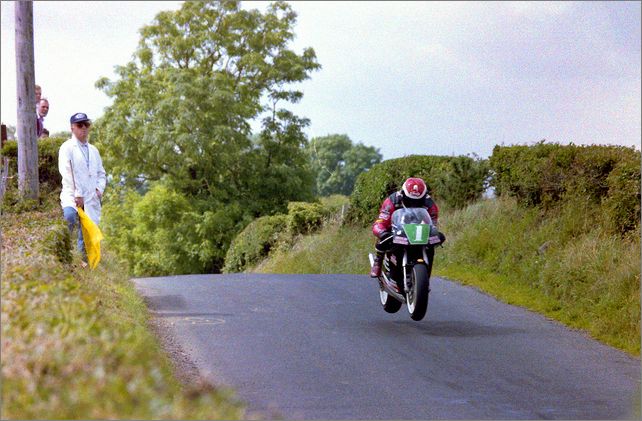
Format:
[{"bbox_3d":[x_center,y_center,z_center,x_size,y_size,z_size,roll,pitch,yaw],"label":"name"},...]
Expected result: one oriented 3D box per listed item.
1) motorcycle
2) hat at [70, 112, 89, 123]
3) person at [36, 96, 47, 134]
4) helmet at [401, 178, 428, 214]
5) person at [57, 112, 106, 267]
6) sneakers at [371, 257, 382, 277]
[{"bbox_3d":[1.433,0.939,11.094,0.659,1.956,1.355,-2,7,-28],"label":"motorcycle"},{"bbox_3d":[-4.287,-1.624,11.705,0.274,0.176,0.348,-1,6,-22],"label":"hat"},{"bbox_3d":[-6.618,-2.167,15.626,0.210,0.914,2.203,-1,6,-23],"label":"person"},{"bbox_3d":[1.577,-0.267,11.256,0.360,0.481,0.430,4,-34,1],"label":"helmet"},{"bbox_3d":[-4.288,-0.395,11.880,0.813,2.654,1.508,-1,6,-21],"label":"person"},{"bbox_3d":[0.993,1.071,11.924,0.177,0.414,0.143,1,21,-2],"label":"sneakers"}]
